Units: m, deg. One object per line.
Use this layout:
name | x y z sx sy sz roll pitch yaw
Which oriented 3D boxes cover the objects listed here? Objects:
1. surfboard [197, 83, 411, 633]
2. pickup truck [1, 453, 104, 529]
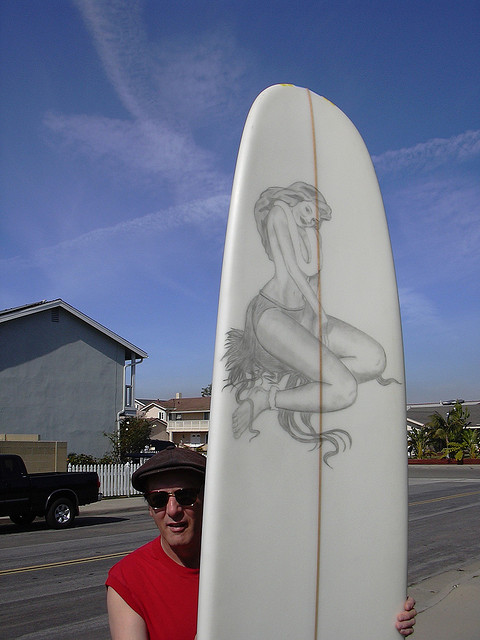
surfboard | 0.264 0.046 2.192 0.897 2.099 0.167 9 -16 -38
pickup truck | -4.024 3.598 12.500 2.323 0.970 1.120 14 -24 -40
